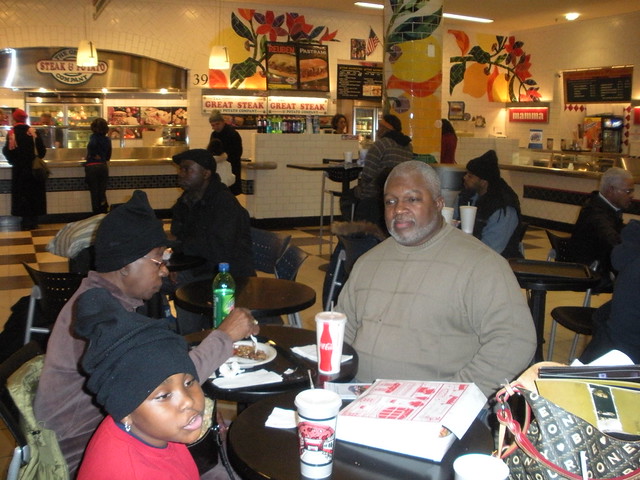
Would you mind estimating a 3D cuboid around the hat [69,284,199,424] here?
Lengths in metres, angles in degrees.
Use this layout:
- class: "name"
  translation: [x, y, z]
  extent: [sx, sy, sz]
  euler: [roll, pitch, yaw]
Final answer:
- class: "hat"
  translation: [-0.466, 0.274, 1.244]
  extent: [0.265, 0.291, 0.229]
  euler: [12, 17, 43]

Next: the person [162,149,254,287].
- class: "person"
  translation: [-0.798, 0.051, 3.761]
  extent: [0.725, 1.433, 0.657]
  euler: [4, 4, -10]

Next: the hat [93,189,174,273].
- class: "hat"
  translation: [-0.699, -0.044, 1.843]
  extent: [0.329, 0.291, 0.270]
  euler: [-4, 7, -8]

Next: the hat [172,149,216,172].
- class: "hat"
  translation: [-0.910, -0.598, 3.589]
  extent: [0.251, 0.125, 0.179]
  euler: [22, 3, -13]

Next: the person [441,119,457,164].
- class: "person"
  translation: [2.273, -1.804, 8.784]
  extent: [0.223, 0.771, 0.745]
  euler: [9, 15, 36]

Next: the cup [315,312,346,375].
- class: "cup"
  translation: [0.037, 0.361, 1.799]
  extent: [0.101, 0.239, 0.167]
  euler: [0, 12, 1]

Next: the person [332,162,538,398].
- class: "person"
  translation: [0.457, 0.151, 2.203]
  extent: [0.536, 0.917, 1.043]
  euler: [-2, 3, -44]

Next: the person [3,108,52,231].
- class: "person"
  translation: [-4.875, -1.180, 8.238]
  extent: [0.615, 1.930, 0.621]
  euler: [-7, 15, -29]

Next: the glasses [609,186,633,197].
- class: "glasses"
  translation: [2.385, -0.402, 3.931]
  extent: [0.129, 0.072, 0.110]
  euler: [-5, 5, 45]

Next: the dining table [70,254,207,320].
- class: "dining table"
  translation: [-1.225, 0.289, 3.364]
  extent: [0.661, 0.423, 0.635]
  euler: [-6, 24, -21]
